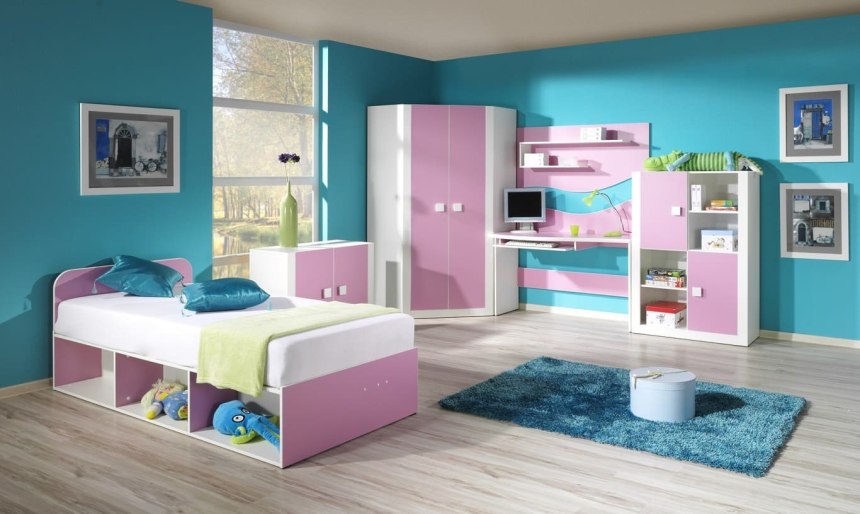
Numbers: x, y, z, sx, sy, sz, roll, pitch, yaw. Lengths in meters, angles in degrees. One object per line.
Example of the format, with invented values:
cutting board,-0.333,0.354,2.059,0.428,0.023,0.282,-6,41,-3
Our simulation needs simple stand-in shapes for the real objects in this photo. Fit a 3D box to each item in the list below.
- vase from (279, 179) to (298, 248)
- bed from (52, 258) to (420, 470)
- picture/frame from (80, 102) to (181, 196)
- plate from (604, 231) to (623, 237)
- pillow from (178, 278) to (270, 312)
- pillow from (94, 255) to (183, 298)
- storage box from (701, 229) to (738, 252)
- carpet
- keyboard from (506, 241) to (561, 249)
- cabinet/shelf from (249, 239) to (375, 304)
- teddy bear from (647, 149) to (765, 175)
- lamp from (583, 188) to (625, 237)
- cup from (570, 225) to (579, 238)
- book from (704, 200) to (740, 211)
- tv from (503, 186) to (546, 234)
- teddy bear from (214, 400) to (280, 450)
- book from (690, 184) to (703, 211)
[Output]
vase,-1.559,-0.448,6.716,0.178,0.684,0.210,-6,10,-25
bed,-1.861,0.777,5.547,3.058,0.979,1.574,2,4,27
picture/frame,-2.983,-1.047,6.196,1.013,0.793,0.039,3,5,8
plate,2.291,-0.287,7.764,0.228,0.054,0.165,0,8,11
pillow,-1.764,0.346,5.644,0.826,0.179,0.656,-8,4,-8
pillow,-2.778,0.189,5.910,0.517,0.139,0.504,29,19,17
storage box,3.216,-0.176,6.913,0.365,0.232,0.173,1,9,18
carpet,1.771,1.325,5.439,2.656,0.286,1.419,2,8,25
keyboard,1.275,-0.148,7.912,0.716,0.090,0.320,1,8,15
cabinet/shelf,-1.116,0.154,6.931,0.910,0.635,0.306,-3,20,-14
teddy bear,3.087,-1.052,7.124,1.035,0.217,0.451,2,4,27
lamp,2.200,-0.560,7.847,0.509,0.564,0.303,2,9,21
cup,1.802,-0.327,7.886,0.161,0.140,0.141,0,3,5
book,3.275,-0.582,6.993,0.314,0.114,0.370,2,8,21
tv,1.219,-0.628,8.156,0.792,0.661,0.243,0,2,1
teddy bear,-1.444,1.302,4.879,0.480,0.107,0.341,12,13,29
book,2.999,-0.663,6.969,0.170,0.300,0.125,0,9,8
